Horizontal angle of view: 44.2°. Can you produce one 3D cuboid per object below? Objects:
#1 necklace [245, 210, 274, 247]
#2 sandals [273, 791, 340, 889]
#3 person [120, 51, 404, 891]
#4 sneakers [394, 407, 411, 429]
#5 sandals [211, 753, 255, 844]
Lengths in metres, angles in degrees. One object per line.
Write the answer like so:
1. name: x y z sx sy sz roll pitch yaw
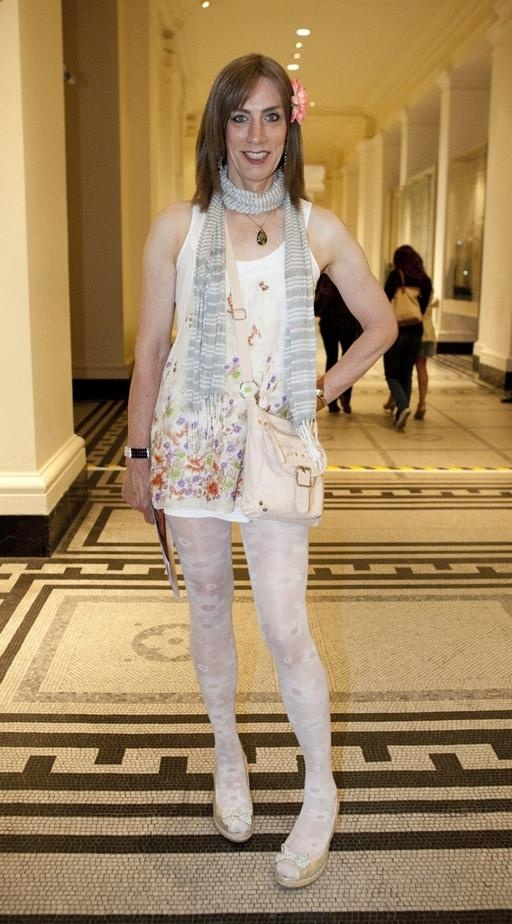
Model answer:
1. necklace: 0.004 -0.378 1.022 0.066 0.007 0.090 -3 57 -9
2. sandals: 0.095 0.690 1.178 0.058 0.083 0.183 0 9 16
3. person: 0.003 0.046 1.177 0.380 1.443 0.420 5 7 42
4. sneakers: 1.403 -0.405 6.061 0.100 0.256 0.102 -5 22 -29
5. sandals: -0.042 0.689 1.305 0.056 0.075 0.180 -1 15 -2
